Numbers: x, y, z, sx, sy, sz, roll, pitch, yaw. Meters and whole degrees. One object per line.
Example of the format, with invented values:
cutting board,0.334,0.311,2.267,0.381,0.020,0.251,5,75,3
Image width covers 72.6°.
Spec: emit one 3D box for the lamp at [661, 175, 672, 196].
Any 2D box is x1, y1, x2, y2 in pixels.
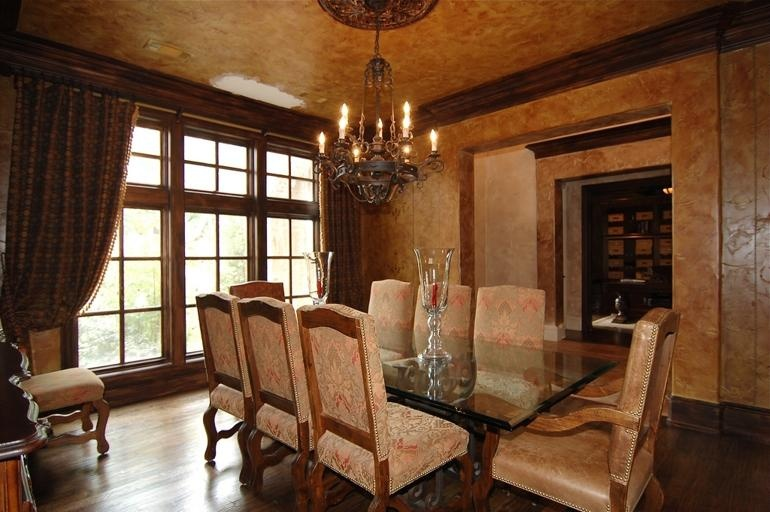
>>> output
lamp,4.443,-1.090,8.277,0.126,0.167,1.662,-3,-1,28
